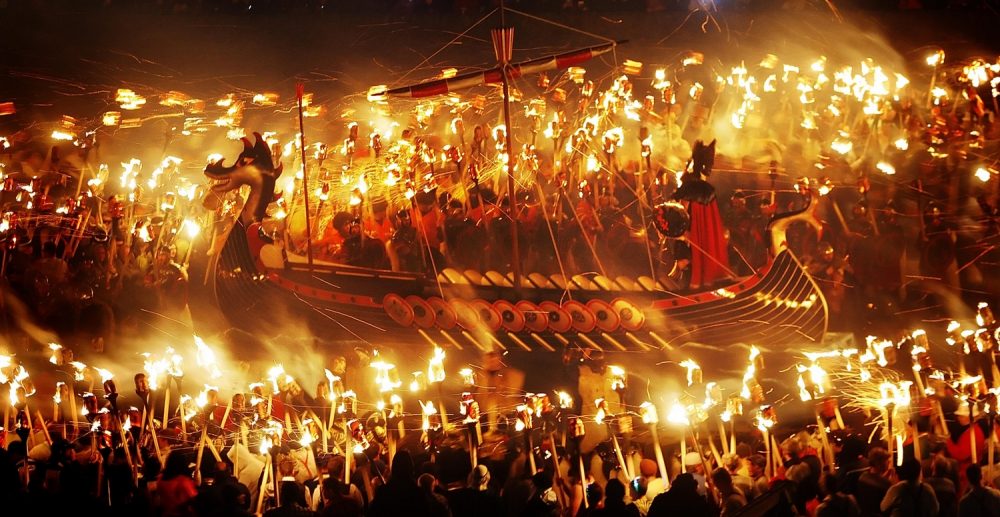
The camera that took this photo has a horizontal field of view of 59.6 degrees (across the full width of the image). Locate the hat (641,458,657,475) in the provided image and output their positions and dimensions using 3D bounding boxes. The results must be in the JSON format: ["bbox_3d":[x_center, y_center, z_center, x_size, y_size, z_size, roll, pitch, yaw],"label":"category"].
[{"bbox_3d":[2.961,4.234,17.671,0.327,0.344,0.281,-6,-11,5],"label":"hat"}]

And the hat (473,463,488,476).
[{"bbox_3d":[-0.406,4.220,17.456,0.200,0.220,0.175,-9,14,-17],"label":"hat"}]
